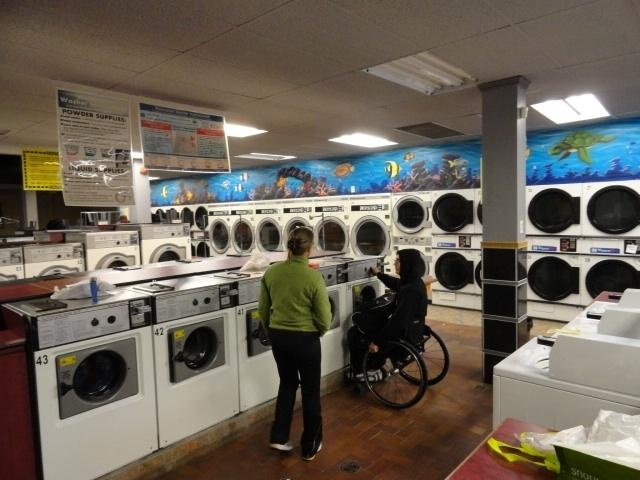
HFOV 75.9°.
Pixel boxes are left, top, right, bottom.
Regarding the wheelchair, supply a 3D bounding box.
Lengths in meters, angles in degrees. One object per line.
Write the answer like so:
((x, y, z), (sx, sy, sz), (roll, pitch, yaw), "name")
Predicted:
((0.868, 0.966, 4.262), (0.906, 1.165, 0.928), (11, 6, 29), "wheelchair")

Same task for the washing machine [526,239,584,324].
((3.558, 0.520, 6.241), (0.885, 1.229, 0.685), (6, 5, 34), "washing machine")

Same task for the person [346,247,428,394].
((0.691, 0.762, 4.143), (0.741, 1.402, 0.686), (12, 7, 31), "person")

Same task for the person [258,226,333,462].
((-0.201, 0.803, 3.223), (0.569, 1.770, 0.378), (-1, 9, -1), "person")

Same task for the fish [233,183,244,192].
((-2.088, -1.328, 10.508), (0.237, 0.169, 0.248), (1, 5, 0), "fish")

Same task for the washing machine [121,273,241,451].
((-1.120, 0.950, 3.576), (0.885, 1.154, 0.756), (3, 6, 41), "washing machine")

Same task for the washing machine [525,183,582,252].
((3.493, -0.294, 6.145), (0.850, 1.204, 0.819), (-1, -2, 37), "washing machine")

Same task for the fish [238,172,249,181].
((-1.922, -1.577, 10.361), (0.245, 0.236, 0.246), (4, 4, -11), "fish")

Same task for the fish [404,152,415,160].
((1.680, -1.569, 7.734), (0.119, 0.088, 0.158), (-8, 8, -40), "fish")
